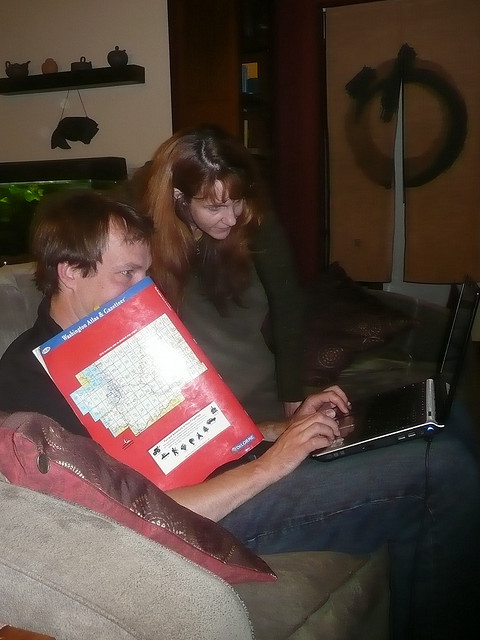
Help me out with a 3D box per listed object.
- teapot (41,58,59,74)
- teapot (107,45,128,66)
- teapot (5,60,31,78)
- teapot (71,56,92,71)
[{"bbox_3d":[-1.088,-1.435,3.112,0.082,0.101,0.041,-1,12,5],"label":"teapot"},{"bbox_3d":[-0.661,-1.429,2.960,0.112,0.073,0.185,-11,33,-6],"label":"teapot"},{"bbox_3d":[-1.308,-1.467,3.251,0.151,0.098,0.108,0,61,-16],"label":"teapot"},{"bbox_3d":[-0.886,-1.421,3.069,0.106,0.091,0.102,-4,38,-10],"label":"teapot"}]
